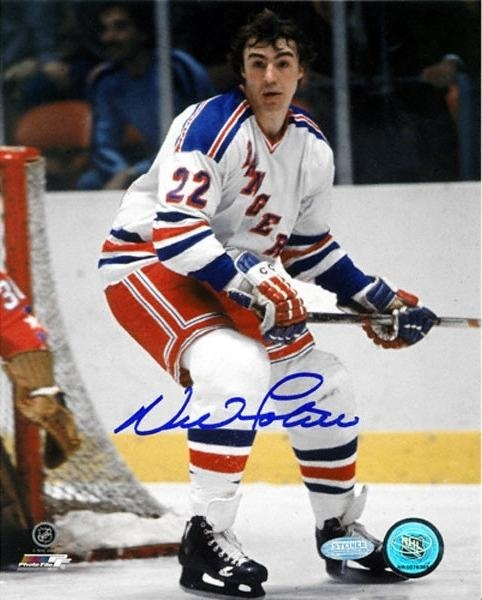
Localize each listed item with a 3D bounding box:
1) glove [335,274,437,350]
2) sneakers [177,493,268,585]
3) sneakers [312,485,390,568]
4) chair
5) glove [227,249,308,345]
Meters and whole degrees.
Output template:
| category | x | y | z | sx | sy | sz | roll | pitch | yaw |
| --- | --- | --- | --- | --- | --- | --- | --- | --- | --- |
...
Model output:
| category | x | y | z | sx | sy | sz | roll | pitch | yaw |
| --- | --- | --- | --- | --- | --- | --- | --- | --- | --- |
| glove | 0.383 | 0.032 | 2.779 | 0.239 | 0.103 | 0.174 | 29 | 34 | 6 |
| sneakers | -0.048 | 0.563 | 2.527 | 0.206 | 0.249 | 0.094 | -1 | 8 | 3 |
| sneakers | 0.284 | 0.576 | 2.753 | 0.188 | 0.093 | 0.225 | -5 | -18 | -22 |
| chair | -0.481 | -0.415 | 2.926 | 0.245 | 0.238 | 0.222 | -3 | 6 | -18 |
| glove | 0.077 | -0.025 | 2.536 | 0.171 | 0.108 | 0.265 | -4 | 37 | -26 |
